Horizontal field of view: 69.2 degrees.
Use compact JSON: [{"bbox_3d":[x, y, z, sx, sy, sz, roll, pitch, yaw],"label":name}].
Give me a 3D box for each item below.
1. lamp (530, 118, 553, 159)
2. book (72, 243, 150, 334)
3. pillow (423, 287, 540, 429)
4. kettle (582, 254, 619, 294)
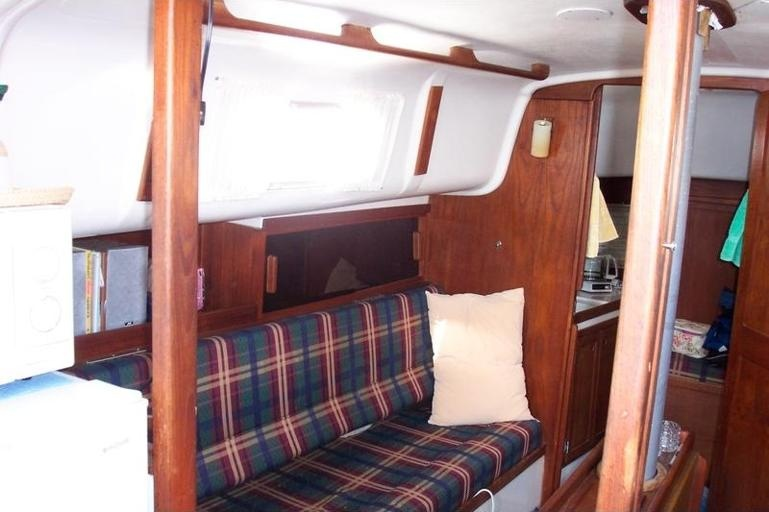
[{"bbox_3d":[0.957,-0.714,3.399,0.114,0.235,0.088,8,14,22],"label":"lamp"},{"bbox_3d":[-1.199,0.076,2.511,0.367,0.431,0.464,-4,6,-37],"label":"book"},{"bbox_3d":[0.572,0.635,3.347,0.828,0.901,0.381,-2,-17,0],"label":"pillow"},{"bbox_3d":[1.589,0.135,4.137,0.285,0.245,0.148,-5,6,-34],"label":"kettle"}]
